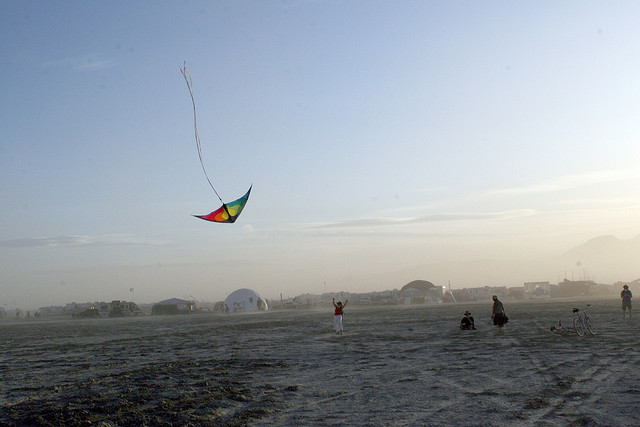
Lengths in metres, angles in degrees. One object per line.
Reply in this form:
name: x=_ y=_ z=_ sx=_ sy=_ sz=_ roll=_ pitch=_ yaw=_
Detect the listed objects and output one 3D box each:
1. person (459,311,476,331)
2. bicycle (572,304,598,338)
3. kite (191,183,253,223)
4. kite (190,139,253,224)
person: x=8.810 y=6.391 z=30.694 sx=0.832 sy=1.034 sz=2.540 roll=-6 pitch=-8 yaw=15
bicycle: x=13.268 y=5.447 z=25.884 sx=1.001 sy=1.531 sz=2.428 roll=-12 pitch=-12 yaw=2
kite: x=-3.762 y=-0.140 z=20.871 sx=1.547 sy=1.358 sz=2.748 roll=-3 pitch=-7 yaw=-11
kite: x=-3.673 y=-0.834 z=21.019 sx=2.609 sy=3.071 sz=2.560 roll=-19 pitch=-9 yaw=19
